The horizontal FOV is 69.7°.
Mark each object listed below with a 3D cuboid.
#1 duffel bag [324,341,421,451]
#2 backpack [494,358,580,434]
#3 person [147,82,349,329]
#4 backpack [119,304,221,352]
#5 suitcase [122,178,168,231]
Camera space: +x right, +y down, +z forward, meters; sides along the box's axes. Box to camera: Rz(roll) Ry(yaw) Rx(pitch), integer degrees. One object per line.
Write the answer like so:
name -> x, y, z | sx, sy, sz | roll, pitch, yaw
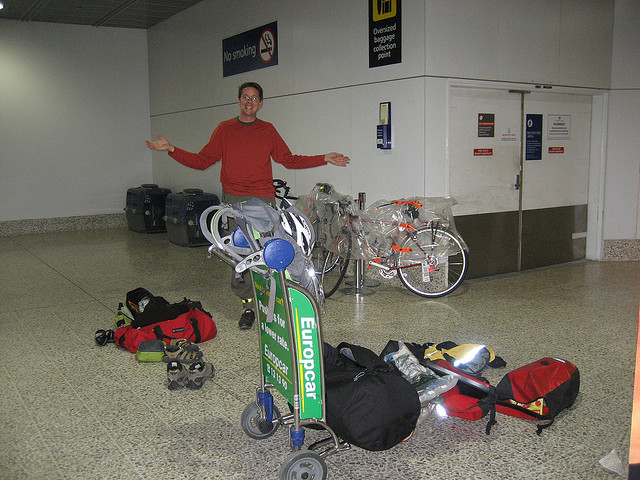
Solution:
duffel bag -> 0.207, 0.811, 2.448 | 0.502, 0.436, 0.492 | -11, 14, -32
backpack -> 1.360, 0.949, 2.866 | 0.527, 0.313, 0.341 | -14, 16, -42
person -> -0.555, -0.255, 4.170 | 1.108, 2.272, 1.326 | -3, 12, 3
backpack -> -1.306, 0.744, 3.980 | 0.596, 0.252, 0.431 | -4, 5, -36
suitcase -> -3.892, -0.691, 10.350 | 0.777, 1.011, 1.138 | -1, 6, -45
